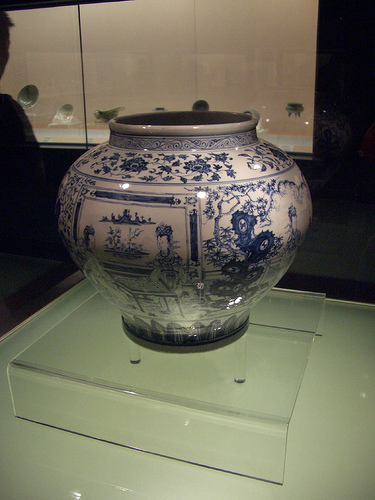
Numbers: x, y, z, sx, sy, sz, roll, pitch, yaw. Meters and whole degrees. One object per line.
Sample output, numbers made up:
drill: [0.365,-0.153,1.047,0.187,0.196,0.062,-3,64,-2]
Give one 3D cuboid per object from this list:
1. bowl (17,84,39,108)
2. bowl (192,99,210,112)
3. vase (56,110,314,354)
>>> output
bowl: [-0.527,-0.510,1.438,0.068,0.065,0.020,-10,13,25]
bowl: [0.038,-0.424,1.265,0.053,0.029,0.018,7,16,27]
vase: [-0.008,-0.048,0.879,0.497,0.407,0.480,-4,19,-12]
